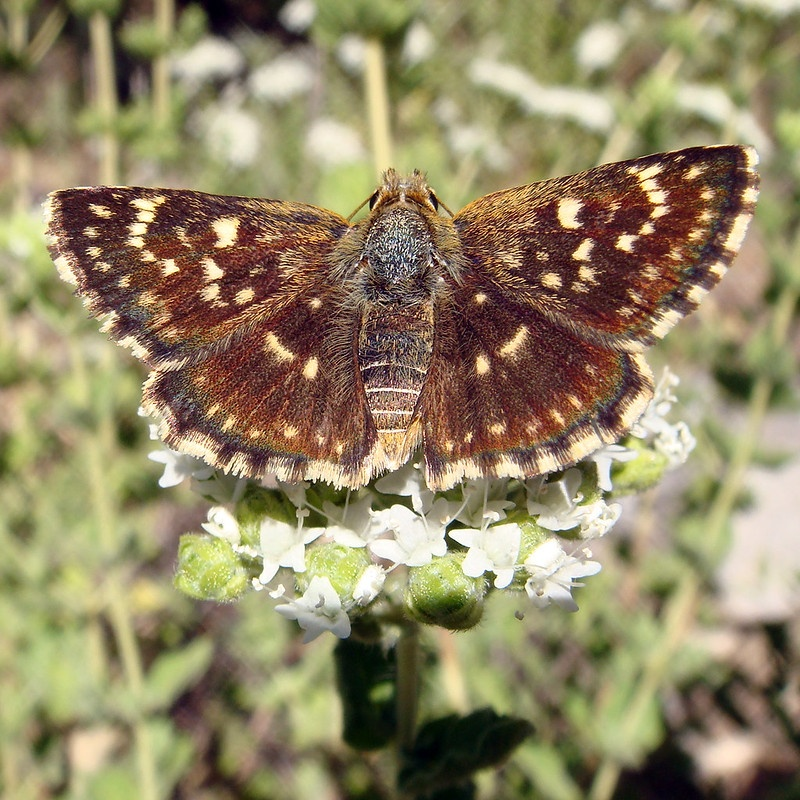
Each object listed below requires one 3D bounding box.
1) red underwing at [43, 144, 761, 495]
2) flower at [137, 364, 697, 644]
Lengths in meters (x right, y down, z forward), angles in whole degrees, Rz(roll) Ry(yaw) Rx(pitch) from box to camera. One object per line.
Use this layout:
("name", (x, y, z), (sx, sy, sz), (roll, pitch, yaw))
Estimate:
("red underwing", (0.003, -0.161, 2.079), (1.514, 0.475, 0.574), (-1, -35, -1))
("flower", (0.127, 0.107, 2.443), (1.176, 1.499, 0.464), (-6, -72, 12))
